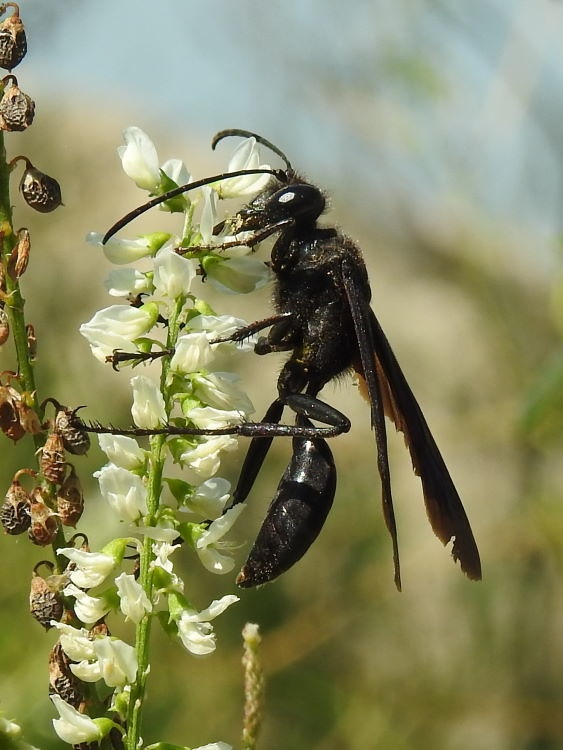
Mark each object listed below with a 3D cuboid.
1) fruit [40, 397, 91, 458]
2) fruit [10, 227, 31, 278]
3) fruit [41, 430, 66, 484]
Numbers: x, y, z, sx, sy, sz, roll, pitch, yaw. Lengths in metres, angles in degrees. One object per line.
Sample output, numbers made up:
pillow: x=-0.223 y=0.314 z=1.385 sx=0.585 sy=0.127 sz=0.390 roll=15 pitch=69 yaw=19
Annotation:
fruit: x=-0.190 y=0.046 z=0.932 sx=0.022 sy=0.052 sz=0.043 roll=-35 pitch=-11 yaw=20
fruit: x=-0.233 y=-0.108 z=0.907 sx=0.019 sy=0.040 sz=0.017 roll=11 pitch=1 yaw=-22
fruit: x=-0.199 y=0.073 z=0.889 sx=0.027 sy=0.037 sz=0.011 roll=2 pitch=-7 yaw=-2
